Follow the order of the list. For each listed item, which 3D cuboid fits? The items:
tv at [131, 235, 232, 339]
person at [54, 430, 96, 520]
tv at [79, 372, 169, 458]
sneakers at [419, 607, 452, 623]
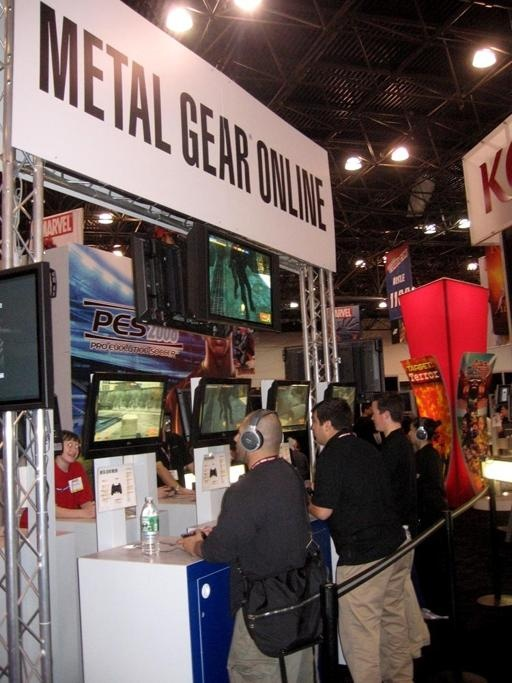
[{"bbox_3d":[-0.432,-0.295,2.914,0.174,0.486,0.719,-9,-7,18],"label":"tv"},{"bbox_3d":[-1.190,0.854,3.600,0.234,0.533,0.920,-4,-7,-19],"label":"person"},{"bbox_3d":[-0.565,0.327,2.478,0.178,0.365,0.515,-9,-7,20],"label":"tv"},{"bbox_3d":[1.297,1.945,3.943,0.230,0.087,0.070,-7,-14,26],"label":"sneakers"}]
